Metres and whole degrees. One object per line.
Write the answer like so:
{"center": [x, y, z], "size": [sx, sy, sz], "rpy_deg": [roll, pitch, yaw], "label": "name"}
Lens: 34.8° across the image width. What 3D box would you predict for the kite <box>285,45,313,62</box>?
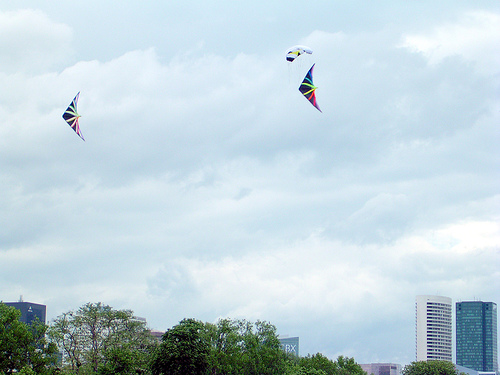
{"center": [10.760, -29.898, 178.686], "size": [4.124, 3.907, 6.471], "rpy_deg": [0, -19, -8], "label": "kite"}
